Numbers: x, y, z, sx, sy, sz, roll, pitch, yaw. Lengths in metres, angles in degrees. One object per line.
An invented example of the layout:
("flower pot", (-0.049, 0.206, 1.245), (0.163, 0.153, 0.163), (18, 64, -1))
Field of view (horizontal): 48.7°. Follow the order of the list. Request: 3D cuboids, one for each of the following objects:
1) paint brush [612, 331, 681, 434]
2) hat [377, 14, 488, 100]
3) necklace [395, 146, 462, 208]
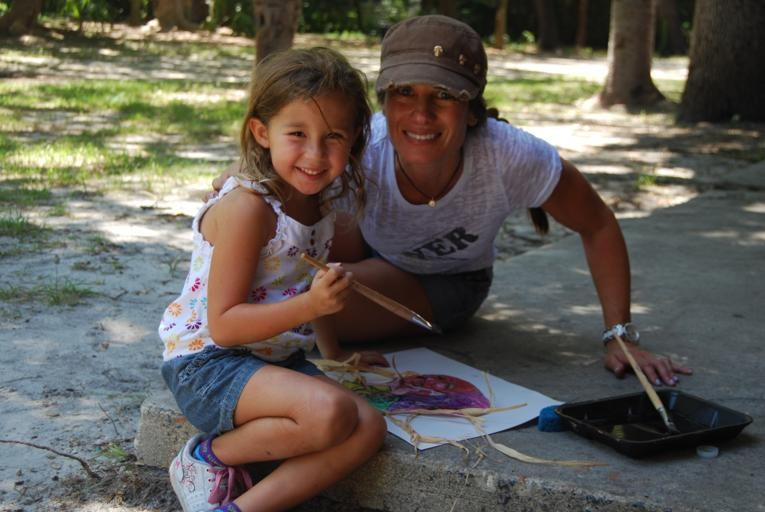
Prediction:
("paint brush", (1.137, 0.539, 3.720), (0.081, 0.049, 0.648), (-16, 30, -4))
("hat", (0.215, -0.898, 3.837), (0.503, 0.357, 0.263), (-1, 15, -1))
("necklace", (0.215, -0.370, 3.991), (0.325, 0.259, 0.103), (-1, 16, 0))
